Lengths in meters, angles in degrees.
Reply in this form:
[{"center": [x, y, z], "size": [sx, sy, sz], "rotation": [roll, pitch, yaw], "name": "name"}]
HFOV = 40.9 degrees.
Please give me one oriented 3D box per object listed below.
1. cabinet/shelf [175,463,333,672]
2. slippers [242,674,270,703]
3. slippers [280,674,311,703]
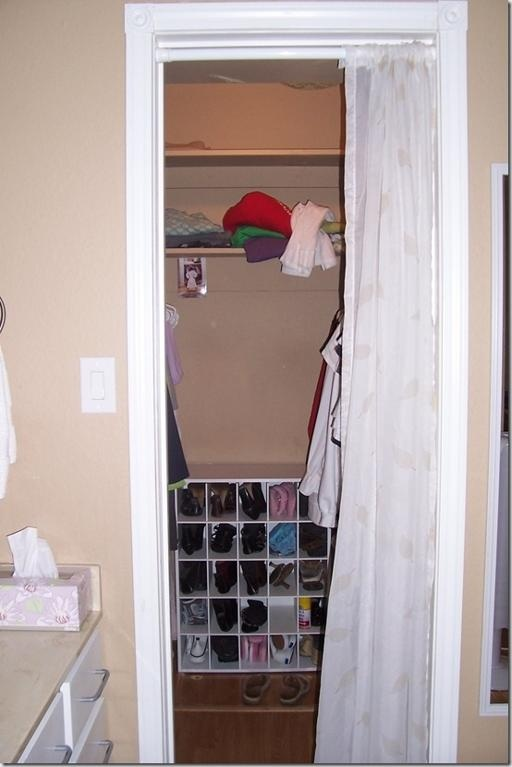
[{"center": [-0.012, 0.739, 2.682], "size": [0.696, 0.851, 0.247], "rotation": [-1, 6, 2], "name": "cabinet/shelf"}, {"center": [-0.003, 1.161, 2.601], "size": [0.096, 0.038, 0.172], "rotation": [2, 3, 10], "name": "slippers"}, {"center": [0.150, 1.160, 2.590], "size": [0.102, 0.037, 0.178], "rotation": [2, 3, 10], "name": "slippers"}]
